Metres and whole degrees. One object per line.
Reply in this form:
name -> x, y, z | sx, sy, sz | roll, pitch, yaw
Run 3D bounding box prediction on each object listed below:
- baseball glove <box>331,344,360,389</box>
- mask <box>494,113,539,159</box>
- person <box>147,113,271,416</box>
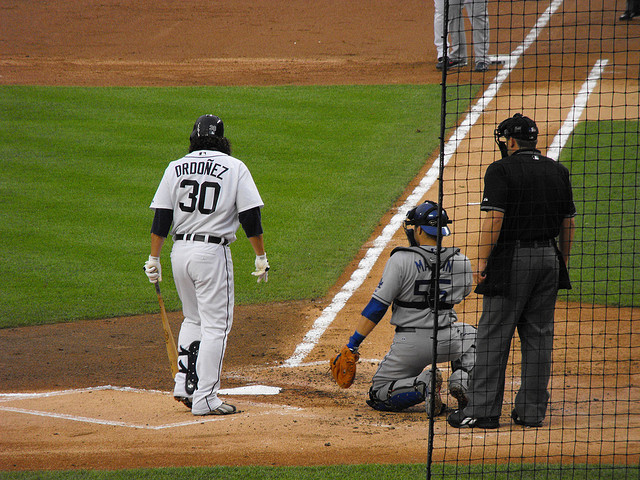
baseball glove -> 0.326, 1.779, 19.217 | 0.370, 0.616, 0.288 | 0, 4, -2
mask -> 2.638, -1.463, 19.084 | 0.585, 0.607, 0.536 | -4, 21, -12
person -> -1.606, 0.361, 19.347 | 1.613, 4.141, 0.758 | 0, 4, -6
